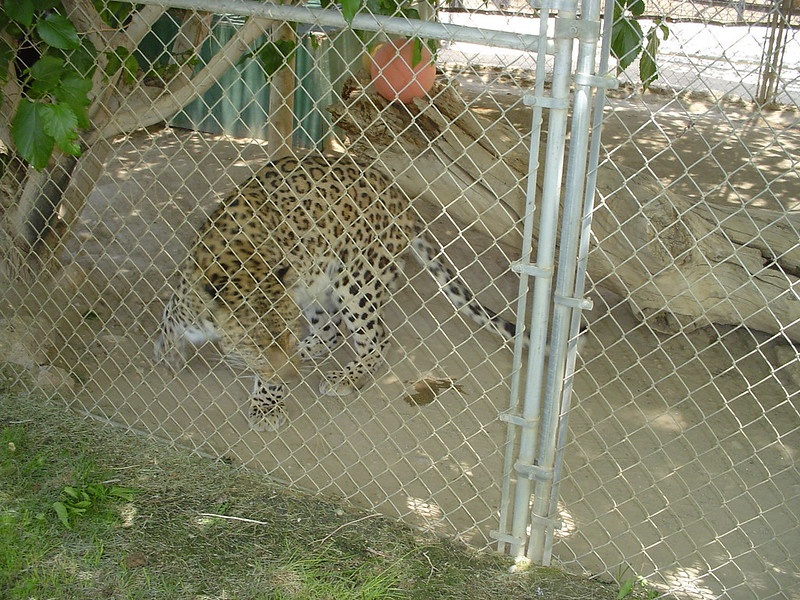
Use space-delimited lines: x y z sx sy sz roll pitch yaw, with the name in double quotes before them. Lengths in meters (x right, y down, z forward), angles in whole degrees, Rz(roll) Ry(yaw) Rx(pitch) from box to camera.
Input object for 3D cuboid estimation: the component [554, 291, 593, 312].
"component" 0.739 0.010 3.731 0.106 0.038 0.083 11 22 27
